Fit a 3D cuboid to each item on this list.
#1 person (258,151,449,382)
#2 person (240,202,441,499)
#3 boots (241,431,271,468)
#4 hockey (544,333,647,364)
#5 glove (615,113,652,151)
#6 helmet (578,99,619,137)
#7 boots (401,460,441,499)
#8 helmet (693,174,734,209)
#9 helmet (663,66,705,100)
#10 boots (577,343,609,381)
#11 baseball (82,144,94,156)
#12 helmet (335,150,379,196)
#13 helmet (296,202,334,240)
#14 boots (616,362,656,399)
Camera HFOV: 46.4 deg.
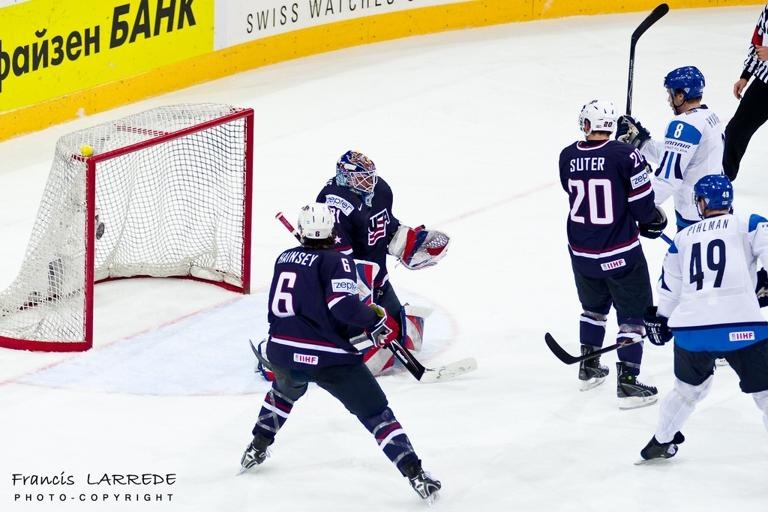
[{"bbox_3d":[-0.193,0.106,6.152,1.259,1.844,0.851,0,52,0],"label":"person"},{"bbox_3d":[-0.250,0.637,5.518,1.639,1.733,0.850,6,20,14],"label":"person"},{"bbox_3d":[-0.760,1.137,5.247,0.125,0.279,0.107,-19,60,-43],"label":"boots"},{"bbox_3d":[1.439,0.572,5.921,1.000,0.240,0.210,6,4,-42],"label":"hockey"},{"bbox_3d":[1.783,-0.883,6.398,0.345,0.132,0.318,1,-5,22],"label":"glove"},{"bbox_3d":[1.398,-0.879,5.836,0.255,0.247,0.273,-3,10,-22],"label":"helmet"},{"bbox_3d":[0.200,1.230,5.045,0.115,0.203,0.314,-29,-3,8],"label":"boots"},{"bbox_3d":[1.871,-0.339,5.073,0.191,0.196,0.217,-3,17,-17],"label":"helmet"},{"bbox_3d":[2.053,-1.168,6.150,0.294,0.259,0.261,6,26,31],"label":"helmet"},{"bbox_3d":[1.410,0.716,6.025,0.281,0.248,0.111,-1,4,-43],"label":"boots"},{"bbox_3d":[-2.122,-0.755,6.422,0.062,0.070,0.062,38,55,11],"label":"baseball"},{"bbox_3d":[-0.177,-0.561,5.956,0.312,0.257,0.251,25,30,37],"label":"helmet"},{"bbox_3d":[-0.380,-0.209,5.059,0.208,0.196,0.255,1,17,-11],"label":"helmet"},{"bbox_3d":[1.628,0.820,5.812,0.383,0.288,0.134,1,-1,-31],"label":"boots"}]
